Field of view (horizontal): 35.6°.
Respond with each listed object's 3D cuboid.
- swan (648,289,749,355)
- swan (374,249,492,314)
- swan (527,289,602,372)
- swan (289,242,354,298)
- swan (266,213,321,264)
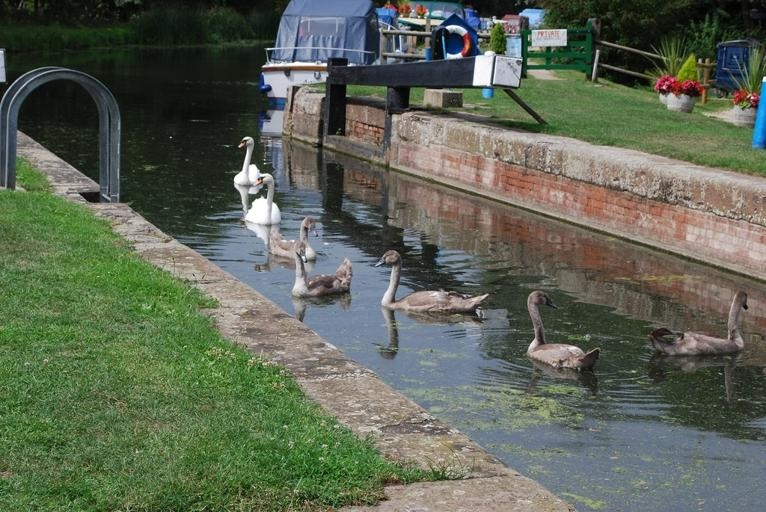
[{"bbox_3d":[4.866,1.060,16.954,2.032,1.019,0.636,0,-1,-19],"label":"swan"},{"bbox_3d":[0.736,0.419,18.169,1.671,0.807,0.621,5,12,13],"label":"swan"},{"bbox_3d":[2.471,1.035,16.523,0.623,0.908,1.326,-5,14,-35],"label":"swan"},{"bbox_3d":[-0.962,0.203,18.674,0.580,0.870,1.332,21,20,34],"label":"swan"},{"bbox_3d":[-1.542,-0.310,20.126,0.471,0.757,1.244,-7,19,-40],"label":"swan"}]
